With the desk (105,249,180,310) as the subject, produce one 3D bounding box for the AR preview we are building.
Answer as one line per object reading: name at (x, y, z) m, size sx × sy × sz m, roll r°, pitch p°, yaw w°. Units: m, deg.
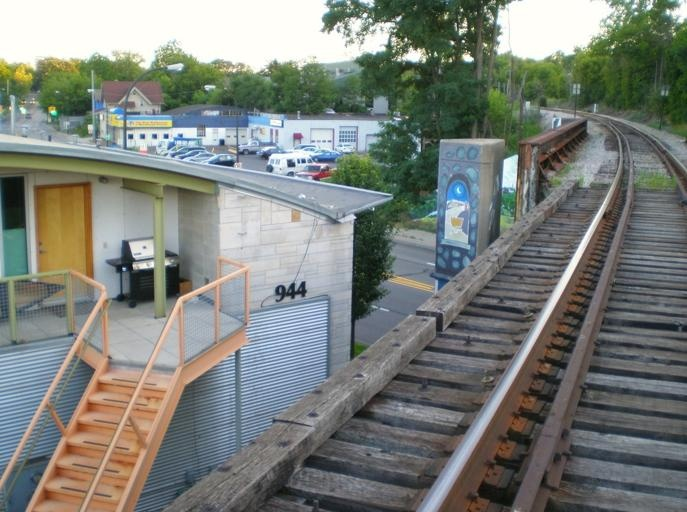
desk at (-4.229, 0.496, 13.208) m, size 1.310 × 0.994 × 0.712 m, roll -8°, pitch 15°, yaw -29°
